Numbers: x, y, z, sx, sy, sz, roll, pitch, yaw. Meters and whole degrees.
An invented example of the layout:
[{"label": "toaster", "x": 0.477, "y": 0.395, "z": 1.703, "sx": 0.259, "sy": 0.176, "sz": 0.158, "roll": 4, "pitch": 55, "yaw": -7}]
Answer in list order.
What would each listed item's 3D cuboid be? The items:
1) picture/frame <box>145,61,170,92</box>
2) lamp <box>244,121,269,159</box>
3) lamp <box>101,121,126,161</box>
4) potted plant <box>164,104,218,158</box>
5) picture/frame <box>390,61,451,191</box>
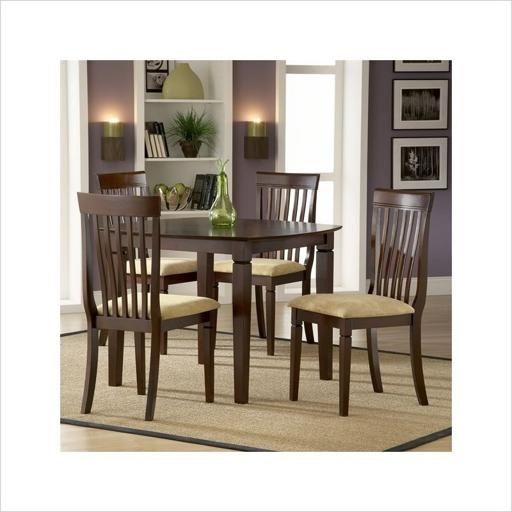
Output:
[{"label": "picture/frame", "x": -0.956, "y": -1.745, "z": 5.060, "sx": 0.232, "sy": 0.029, "sz": 0.400, "roll": -8, "pitch": -38, "yaw": -19}, {"label": "lamp", "x": -0.005, "y": -1.090, "z": 5.014, "sx": 0.263, "sy": 0.491, "sz": 0.216, "roll": -1, "pitch": 3, "yaw": -10}, {"label": "lamp", "x": -1.253, "y": -1.039, "z": 4.649, "sx": 0.170, "sy": 0.118, "sz": 0.366, "roll": -6, "pitch": -38, "yaw": -18}, {"label": "potted plant", "x": -0.630, "y": -1.154, "z": 5.091, "sx": 0.522, "sy": 0.474, "sz": 0.556, "roll": 7, "pitch": 8, "yaw": 33}, {"label": "picture/frame", "x": 1.682, "y": -1.314, "z": 5.374, "sx": 0.652, "sy": 1.273, "sz": 0.063, "roll": -1, "pitch": 6, "yaw": -12}]
